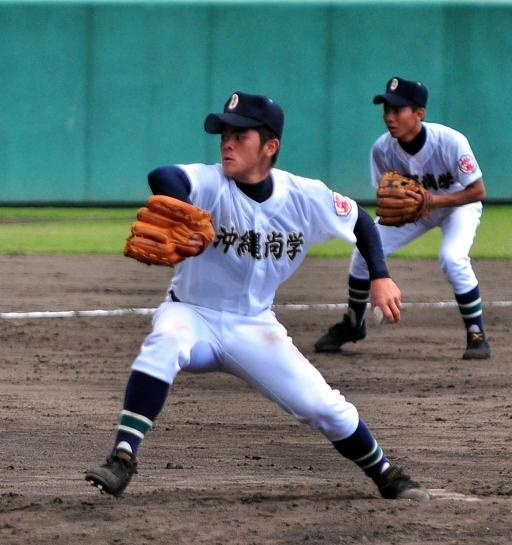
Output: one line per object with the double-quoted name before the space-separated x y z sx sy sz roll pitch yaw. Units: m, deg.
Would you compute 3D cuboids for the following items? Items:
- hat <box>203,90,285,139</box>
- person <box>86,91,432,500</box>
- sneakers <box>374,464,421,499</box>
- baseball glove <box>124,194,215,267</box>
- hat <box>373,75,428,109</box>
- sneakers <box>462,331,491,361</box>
"hat" -0.049 -0.690 4.829 0.300 0.144 0.200 10 2 -28
"person" -0.012 0.101 4.754 1.388 1.734 0.745 0 10 -10
"sneakers" 0.614 0.917 4.779 0.208 0.092 0.121 25 56 33
"baseball glove" -0.463 -0.188 4.611 0.308 0.136 0.328 16 -32 -35
"hat" 0.980 -1.189 7.359 0.314 0.153 0.214 1 26 -15
"sneakers" 1.439 0.469 7.097 0.179 0.154 0.239 3 10 11
